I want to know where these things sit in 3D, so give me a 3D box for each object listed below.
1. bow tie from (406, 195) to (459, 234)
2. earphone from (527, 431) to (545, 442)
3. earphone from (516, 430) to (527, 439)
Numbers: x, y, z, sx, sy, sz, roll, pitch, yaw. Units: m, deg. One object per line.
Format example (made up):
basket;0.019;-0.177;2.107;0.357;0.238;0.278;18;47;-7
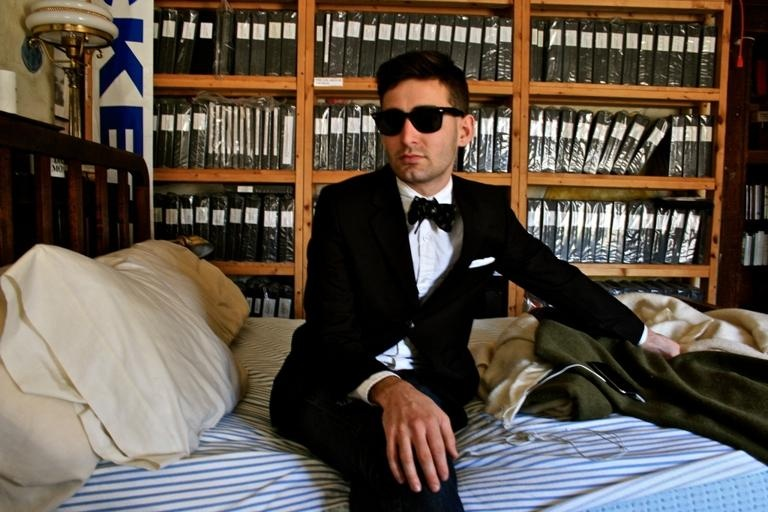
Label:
bow tie;0.166;-0.163;2.368;0.194;0.131;0.074;11;45;10
earphone;0.507;0.591;2.158;0.031;0.012;0.025;12;37;14
earphone;0.464;0.594;2.182;0.044;0.017;0.045;2;4;10
